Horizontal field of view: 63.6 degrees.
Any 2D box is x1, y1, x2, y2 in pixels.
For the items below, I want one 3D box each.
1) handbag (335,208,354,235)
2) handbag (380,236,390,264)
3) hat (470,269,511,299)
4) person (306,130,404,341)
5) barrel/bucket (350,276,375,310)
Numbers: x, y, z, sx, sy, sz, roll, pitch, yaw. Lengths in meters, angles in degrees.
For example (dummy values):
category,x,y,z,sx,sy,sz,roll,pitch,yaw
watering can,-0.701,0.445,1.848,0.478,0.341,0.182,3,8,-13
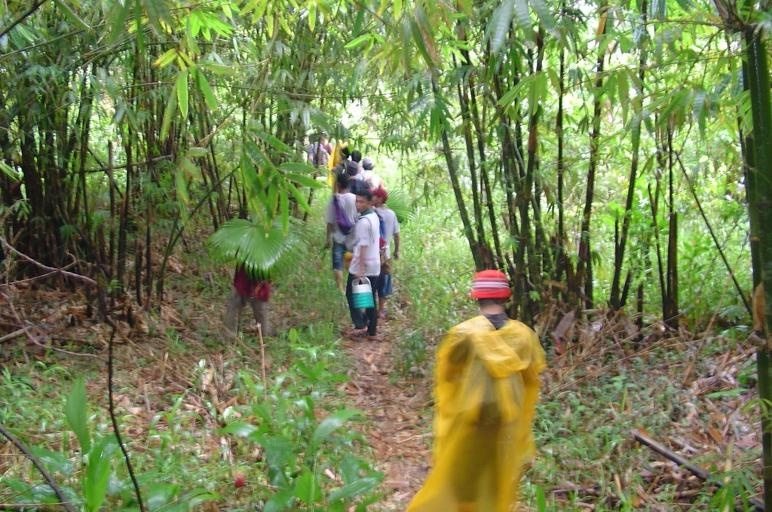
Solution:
category,x,y,z,sx,sy,sz,roll,pitch,yaw
handbag,-0.410,-0.335,6.053,0.104,0.255,0.128,-38,13,2
handbag,-0.019,-0.051,6.045,0.098,0.330,0.092,-33,49,-30
hat,0.558,0.153,3.431,0.169,0.096,0.172,-1,5,-20
person,-0.216,-0.091,6.230,0.665,1.654,1.128,0,3,0
barrel/bucket,-0.212,0.348,5.750,0.219,0.287,0.165,0,3,-4
